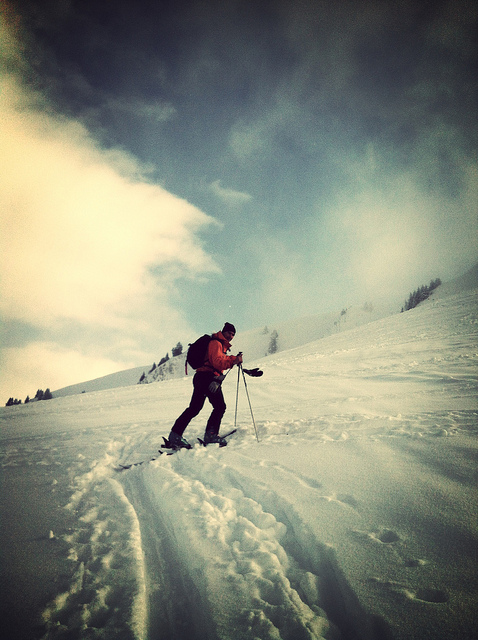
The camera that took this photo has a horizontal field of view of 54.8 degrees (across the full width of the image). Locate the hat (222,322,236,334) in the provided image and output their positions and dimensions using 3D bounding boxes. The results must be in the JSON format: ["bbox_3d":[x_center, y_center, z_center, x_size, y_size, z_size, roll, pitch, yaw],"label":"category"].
[{"bbox_3d":[-0.172,0.132,7.017,0.184,0.168,0.205,-4,9,-3],"label":"hat"}]

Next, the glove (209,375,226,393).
[{"bbox_3d":[-0.298,0.920,6.575,0.124,0.243,0.354,2,11,31],"label":"glove"}]

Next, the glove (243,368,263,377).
[{"bbox_3d":[0.207,0.756,6.550,0.329,0.119,0.148,2,7,1],"label":"glove"}]

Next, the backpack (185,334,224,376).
[{"bbox_3d":[-0.541,0.535,6.787,0.459,0.495,0.591,-5,10,-12],"label":"backpack"}]

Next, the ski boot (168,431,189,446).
[{"bbox_3d":[-0.831,1.652,6.347,0.251,0.209,0.297,-6,10,-12],"label":"ski boot"}]
